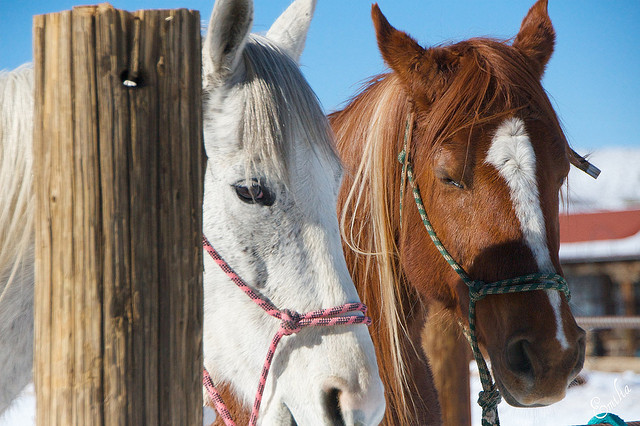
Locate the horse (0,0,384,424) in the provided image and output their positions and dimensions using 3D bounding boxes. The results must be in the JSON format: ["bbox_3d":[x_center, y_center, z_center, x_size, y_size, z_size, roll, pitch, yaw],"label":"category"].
[{"bbox_3d":[-0.764,-0.029,7.577,2.154,2.579,1.364,-4,-7,-2],"label":"horse"}]
